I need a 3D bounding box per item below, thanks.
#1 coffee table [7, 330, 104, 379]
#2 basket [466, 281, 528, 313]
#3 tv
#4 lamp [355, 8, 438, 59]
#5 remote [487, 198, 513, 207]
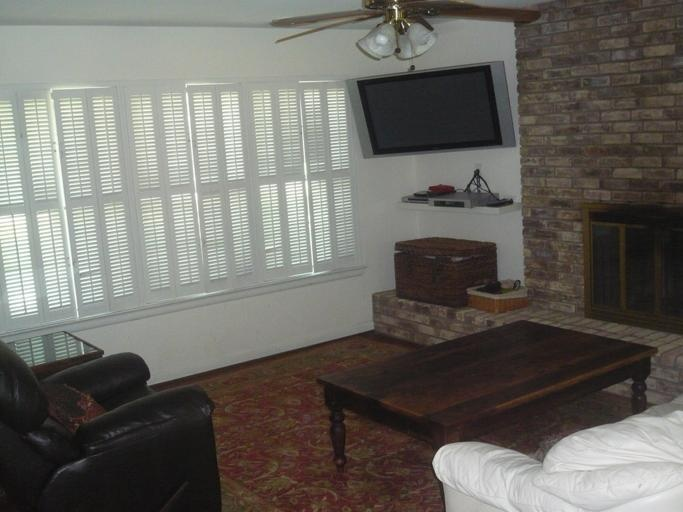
[{"bbox_3d":[-1.643,0.556,3.209,0.350,0.083,0.347,-8,17,-37],"label":"coffee table"},{"bbox_3d":[1.266,0.340,4.433,0.461,0.125,0.432,-4,7,9],"label":"basket"},{"bbox_3d":[0.733,-1.201,4.660,0.085,0.658,1.556,-31,26,-37],"label":"tv"},{"bbox_3d":[0.230,-0.879,2.278,0.262,0.209,0.223,-8,13,-23],"label":"lamp"},{"bbox_3d":[1.297,-0.445,4.469,0.179,0.029,0.085,-14,14,-42],"label":"remote"}]
